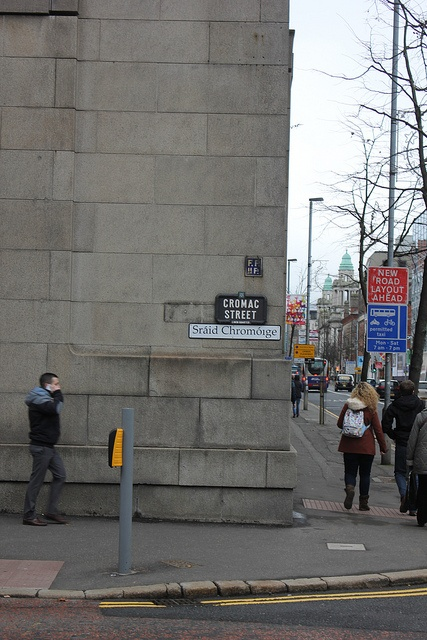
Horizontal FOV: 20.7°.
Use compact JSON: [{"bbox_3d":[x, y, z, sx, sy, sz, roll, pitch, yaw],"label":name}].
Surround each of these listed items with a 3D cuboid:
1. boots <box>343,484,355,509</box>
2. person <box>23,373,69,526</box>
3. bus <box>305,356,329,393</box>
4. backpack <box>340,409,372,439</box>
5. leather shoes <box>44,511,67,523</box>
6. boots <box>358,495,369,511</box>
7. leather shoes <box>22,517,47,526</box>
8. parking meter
[{"bbox_3d":[1.555,2.034,13.380,0.097,0.318,0.200,1,2,4],"label":"boots"},{"bbox_3d":[-1.652,1.273,11.555,0.446,1.459,0.531,2,1,-9],"label":"person"},{"bbox_3d":[5.300,2.814,60.984,1.595,2.124,4.454,0,-5,3],"label":"bus"},{"bbox_3d":[1.684,1.196,13.709,0.333,0.505,0.275,2,-41,12],"label":"backpack"},{"bbox_3d":[-1.591,1.976,11.617,0.258,0.145,0.095,5,-3,7],"label":"leather shoes"},{"bbox_3d":[1.770,2.152,13.681,0.121,0.137,0.294,2,1,8],"label":"boots"},{"bbox_3d":[-1.742,1.970,11.368,0.222,0.104,0.088,0,0,1],"label":"leather shoes"},{"bbox_3d":[-0.778,1.422,9.739,0.212,1.348,0.287,2,1,-4],"label":"parking meter"}]
